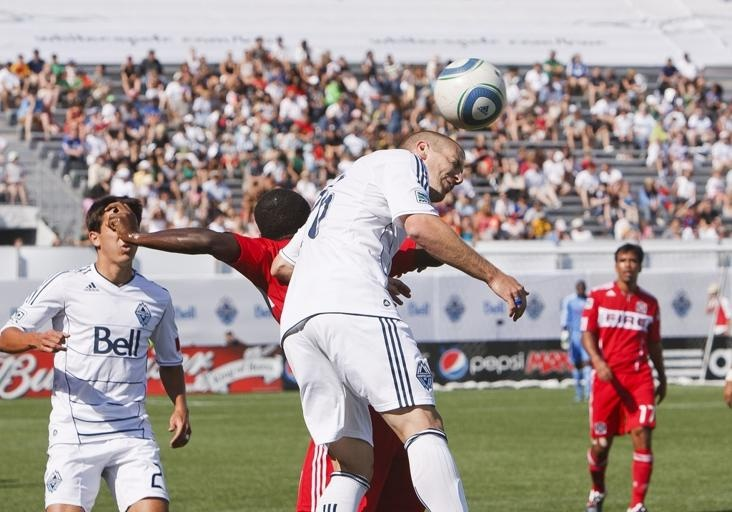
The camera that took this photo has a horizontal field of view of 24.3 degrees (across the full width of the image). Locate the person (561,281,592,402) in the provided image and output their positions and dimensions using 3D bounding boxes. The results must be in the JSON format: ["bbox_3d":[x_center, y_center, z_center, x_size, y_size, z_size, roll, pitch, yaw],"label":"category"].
[{"bbox_3d":[4.709,1.829,37.556,0.715,2.692,0.930,3,-2,-29],"label":"person"}]
